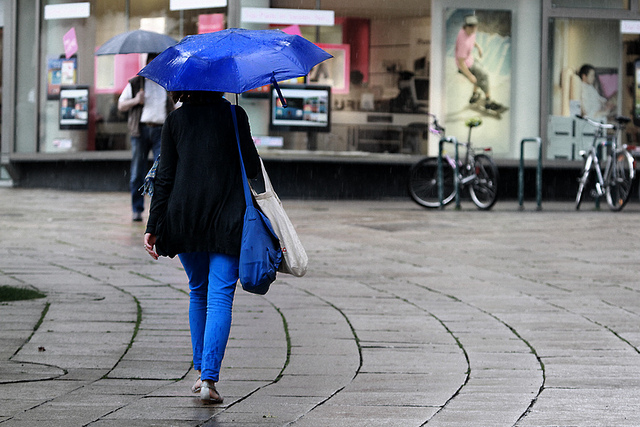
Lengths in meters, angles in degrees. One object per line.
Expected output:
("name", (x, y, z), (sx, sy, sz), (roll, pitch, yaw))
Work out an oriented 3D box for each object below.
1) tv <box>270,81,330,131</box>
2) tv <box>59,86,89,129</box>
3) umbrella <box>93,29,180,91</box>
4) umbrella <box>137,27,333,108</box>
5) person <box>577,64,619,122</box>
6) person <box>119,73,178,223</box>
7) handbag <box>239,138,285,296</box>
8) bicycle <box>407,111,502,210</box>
("tv", (-0.406, -2.177, 22.183), (1.207, 1.148, 0.134), (0, 43, -4))
("tv", (-5.314, -2.279, 23.523), (0.749, 1.061, 0.106), (0, -3, 34))
("umbrella", (-2.911, -2.664, 17.175), (1.314, 1.104, 1.465), (-4, 7, -2))
("umbrella", (-0.810, -1.359, 10.316), (1.675, 0.719, 0.698), (-1, 11, -12))
("person", (5.960, -2.556, 23.313), (0.959, 1.213, 0.294), (-3, 10, -21))
("person", (-2.687, -1.201, 16.840), (0.795, 2.649, 0.651), (0, -13, -6))
("handbag", (-0.660, -0.026, 10.360), (0.315, 1.529, 0.599), (-4, -5, -14))
("bicycle", (2.448, -0.934, 19.788), (2.147, 1.646, 0.866), (-1, -3, -33))
